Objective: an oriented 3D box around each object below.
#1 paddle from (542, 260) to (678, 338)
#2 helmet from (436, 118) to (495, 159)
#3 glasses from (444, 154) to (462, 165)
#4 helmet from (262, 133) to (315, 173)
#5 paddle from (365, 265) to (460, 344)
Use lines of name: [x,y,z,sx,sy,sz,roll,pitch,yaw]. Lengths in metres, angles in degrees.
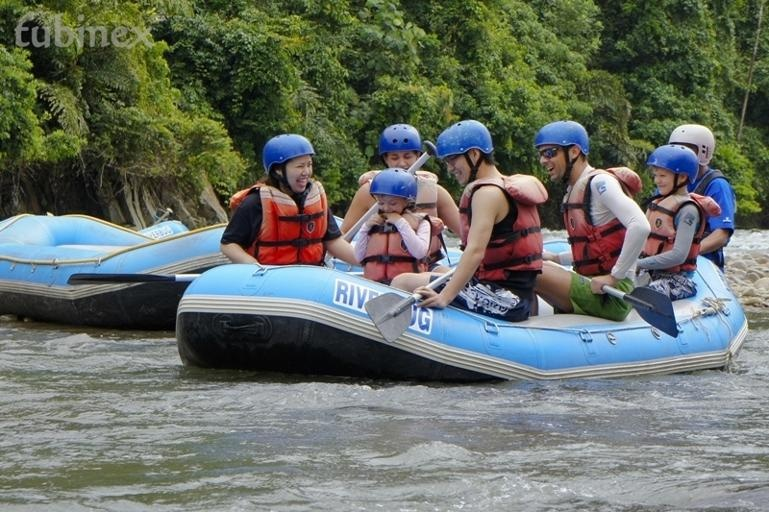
paddle: [2.187,0.383,9.623,1.126,0.331,0.125,23,-26,-29]
helmet: [0.753,-1.155,9.768,0.469,0.257,0.356,0,1,-9]
glasses: [0.639,-0.938,9.719,0.112,0.038,0.083,-26,9,-17]
helmet: [-0.939,-1.049,10.114,0.440,0.336,0.333,-4,0,13]
paddle: [0.143,0.514,9.873,0.139,0.440,1.288,-38,-2,23]
